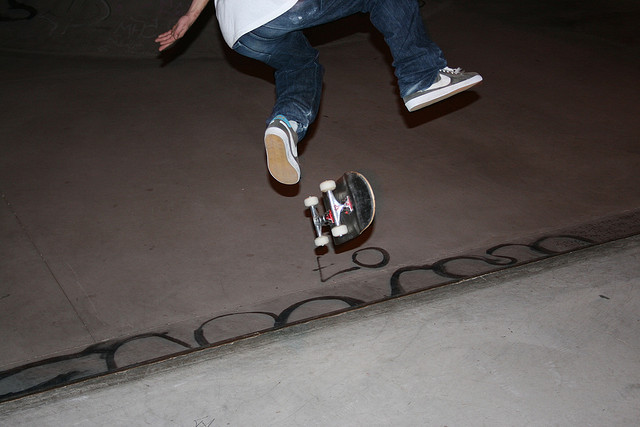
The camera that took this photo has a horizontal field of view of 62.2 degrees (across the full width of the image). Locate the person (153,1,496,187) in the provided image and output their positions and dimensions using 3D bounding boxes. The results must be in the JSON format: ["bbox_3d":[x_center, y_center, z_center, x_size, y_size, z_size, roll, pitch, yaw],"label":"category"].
[{"bbox_3d":[0.069,-0.747,3.109,1.738,1.068,0.736,-11,12,-11],"label":"person"}]

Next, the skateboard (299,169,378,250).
[{"bbox_3d":[0.112,-0.024,2.913,0.422,0.398,0.330,-11,12,-2],"label":"skateboard"}]
